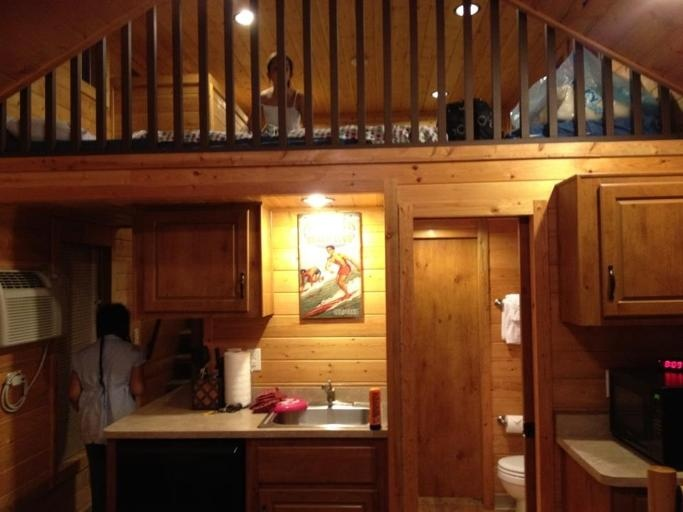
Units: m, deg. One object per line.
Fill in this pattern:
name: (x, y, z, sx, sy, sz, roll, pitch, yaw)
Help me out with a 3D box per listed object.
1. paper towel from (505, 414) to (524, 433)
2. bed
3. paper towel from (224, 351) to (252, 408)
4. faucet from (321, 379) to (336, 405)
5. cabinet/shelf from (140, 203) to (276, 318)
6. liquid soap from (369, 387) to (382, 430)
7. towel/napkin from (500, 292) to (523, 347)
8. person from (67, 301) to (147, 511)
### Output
paper towel: (1.339, 1.336, 5.147, 0.123, 0.158, 0.386, -1, 0, 12)
bed: (-0.770, -0.791, 4.249, 2.736, 0.276, 0.253, -2, 0, 3)
paper towel: (-0.747, 0.855, 4.742, 0.195, 0.376, 0.207, 0, 0, 14)
faucet: (-0.097, 0.971, 4.780, 0.100, 0.157, 0.169, -1, 0, -1)
cabinet/shelf: (-0.882, 0.017, 4.671, 1.078, 1.014, 0.654, -1, -3, 2)
liquid soap: (0.208, 0.941, 4.138, 0.074, 0.230, 0.116, -1, 0, 7)
towel/napkin: (1.328, 0.498, 5.216, 0.137, 0.399, 0.236, -1, 0, 8)
person: (-1.646, 1.046, 4.676, 0.505, 1.064, 0.266, -1, 0, -24)
